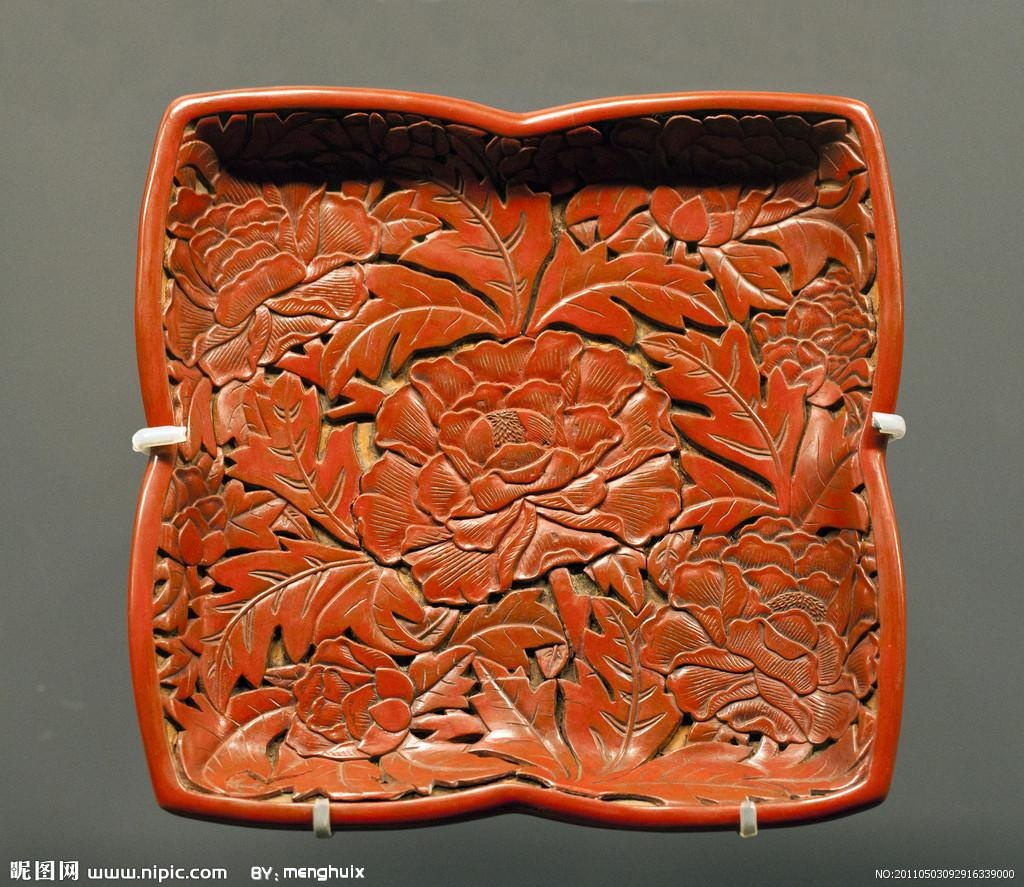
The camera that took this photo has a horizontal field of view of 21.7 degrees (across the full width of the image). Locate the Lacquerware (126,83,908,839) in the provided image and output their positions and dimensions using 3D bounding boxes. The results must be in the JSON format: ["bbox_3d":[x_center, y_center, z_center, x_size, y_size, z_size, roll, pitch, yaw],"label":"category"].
[{"bbox_3d":[-0.003,0.059,3.753,1.021,0.312,1.047,-1,90,-1],"label":"Lacquerware"}]
